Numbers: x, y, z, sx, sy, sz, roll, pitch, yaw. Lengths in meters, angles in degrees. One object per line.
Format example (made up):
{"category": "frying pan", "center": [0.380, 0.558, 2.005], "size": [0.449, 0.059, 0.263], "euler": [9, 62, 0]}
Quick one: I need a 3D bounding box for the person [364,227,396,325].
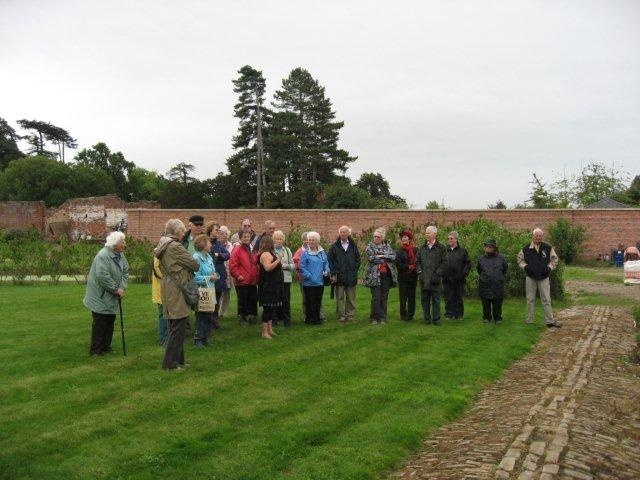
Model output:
{"category": "person", "center": [1.322, 0.817, 12.358], "size": [0.601, 2.105, 0.622], "euler": [4, 6, 30]}

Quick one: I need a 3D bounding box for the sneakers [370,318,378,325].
{"category": "sneakers", "center": [1.196, 1.830, 12.268], "size": [0.116, 0.133, 0.077], "euler": [-1, -11, 2]}

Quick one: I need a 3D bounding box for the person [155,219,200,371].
{"category": "person", "center": [-2.289, 0.858, 8.719], "size": [0.656, 2.311, 0.562], "euler": [-1, 6, -19]}

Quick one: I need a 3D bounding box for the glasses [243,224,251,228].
{"category": "glasses", "center": [-1.604, -0.299, 11.914], "size": [0.136, 0.069, 0.172], "euler": [-1, 7, -25]}

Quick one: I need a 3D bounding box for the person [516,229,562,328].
{"category": "person", "center": [4.997, 0.820, 12.530], "size": [0.922, 2.182, 1.165], "euler": [4, 6, 24]}

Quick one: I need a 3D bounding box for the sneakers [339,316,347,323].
{"category": "sneakers", "center": [0.516, 1.787, 12.418], "size": [0.130, 0.126, 0.107], "euler": [1, 0, -18]}

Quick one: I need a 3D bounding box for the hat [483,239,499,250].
{"category": "hat", "center": [3.928, 0.068, 12.612], "size": [0.266, 0.120, 0.242], "euler": [14, -11, -43]}

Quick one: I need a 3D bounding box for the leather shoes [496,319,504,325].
{"category": "leather shoes", "center": [4.086, 1.860, 12.550], "size": [0.081, 0.074, 0.210], "euler": [-11, -8, 32]}

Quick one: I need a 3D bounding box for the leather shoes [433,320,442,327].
{"category": "leather shoes", "center": [2.640, 1.860, 12.312], "size": [0.129, 0.109, 0.104], "euler": [6, -11, -19]}

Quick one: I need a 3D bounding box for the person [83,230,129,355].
{"category": "person", "center": [-3.712, 0.921, 9.531], "size": [0.686, 2.064, 0.740], "euler": [-1, 6, -20]}

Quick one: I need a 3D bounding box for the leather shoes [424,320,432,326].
{"category": "leather shoes", "center": [2.422, 1.857, 12.369], "size": [0.182, 0.140, 0.072], "euler": [12, -18, -23]}

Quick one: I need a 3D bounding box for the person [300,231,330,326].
{"category": "person", "center": [-0.138, 0.833, 11.959], "size": [0.657, 1.995, 0.703], "euler": [1, 5, 0]}

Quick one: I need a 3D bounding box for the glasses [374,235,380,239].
{"category": "glasses", "center": [1.266, -0.077, 12.177], "size": [0.130, 0.062, 0.056], "euler": [3, 6, 18]}

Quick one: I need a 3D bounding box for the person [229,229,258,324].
{"category": "person", "center": [-1.622, 0.803, 11.567], "size": [0.572, 2.040, 0.848], "euler": [0, 6, -8]}

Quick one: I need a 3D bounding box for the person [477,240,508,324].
{"category": "person", "center": [3.899, 0.936, 12.568], "size": [0.626, 1.843, 0.683], "euler": [3, 6, 16]}

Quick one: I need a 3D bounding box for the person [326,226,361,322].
{"category": "person", "center": [0.512, 0.767, 12.407], "size": [0.693, 2.168, 1.050], "euler": [1, 5, 3]}

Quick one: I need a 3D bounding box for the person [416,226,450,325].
{"category": "person", "center": [2.554, 0.796, 12.632], "size": [0.661, 2.216, 0.907], "euler": [2, 6, 12]}

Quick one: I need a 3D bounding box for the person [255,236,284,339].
{"category": "person", "center": [-1.002, 0.919, 10.825], "size": [0.489, 1.973, 1.141], "euler": [1, 6, -6]}
